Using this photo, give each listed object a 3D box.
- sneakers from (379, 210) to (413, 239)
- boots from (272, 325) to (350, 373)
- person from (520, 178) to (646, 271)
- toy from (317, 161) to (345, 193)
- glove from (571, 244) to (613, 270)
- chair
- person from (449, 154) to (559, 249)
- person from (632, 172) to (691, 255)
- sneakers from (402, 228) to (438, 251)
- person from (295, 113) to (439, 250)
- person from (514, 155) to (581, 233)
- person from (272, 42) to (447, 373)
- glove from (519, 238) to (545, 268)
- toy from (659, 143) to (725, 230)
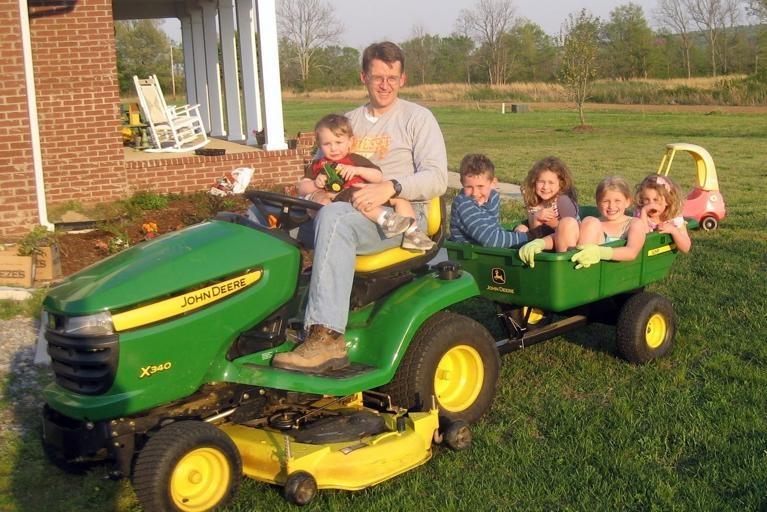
[{"bbox_3d":[0.077,-0.224,4.590,0.143,0.124,0.253,-39,13,-22],"label":"sneakers"},{"bbox_3d":[-0.469,0.614,4.391,0.552,0.377,0.209,2,-10,-36],"label":"boots"},{"bbox_3d":[1.724,-0.300,5.376,1.079,0.621,0.675,-6,7,-34],"label":"person"},{"bbox_3d":[-0.367,-0.568,4.678,0.154,0.211,0.069,-9,-10,-41],"label":"toy"},{"bbox_3d":[1.646,-0.012,5.033,0.324,0.087,0.167,-14,45,-23],"label":"glove"},{"bbox_3d":[-4.319,-3.032,13.612,1.314,1.532,1.388,4,21,18],"label":"chair"},{"bbox_3d":[0.966,-0.456,5.625,0.752,0.772,0.563,8,15,40],"label":"person"},{"bbox_3d":[2.548,-0.403,5.917,0.485,0.719,0.598,-11,13,-14],"label":"person"},{"bbox_3d":[0.267,-0.115,4.723,0.257,0.144,0.113,3,11,-8],"label":"sneakers"},{"bbox_3d":[-0.067,-0.718,5.054,0.627,1.075,1.315,-28,31,-28],"label":"person"},{"bbox_3d":[1.443,-0.617,6.018,0.511,0.775,0.712,7,26,39],"label":"person"},{"bbox_3d":[-0.070,-0.451,4.681,0.937,2.184,1.552,-2,14,15],"label":"person"},{"bbox_3d":[1.204,-0.021,5.073,0.163,0.181,0.287,6,17,40],"label":"glove"},{"bbox_3d":[4.527,-1.018,9.770,1.327,1.341,0.683,-1,14,5],"label":"toy"}]
